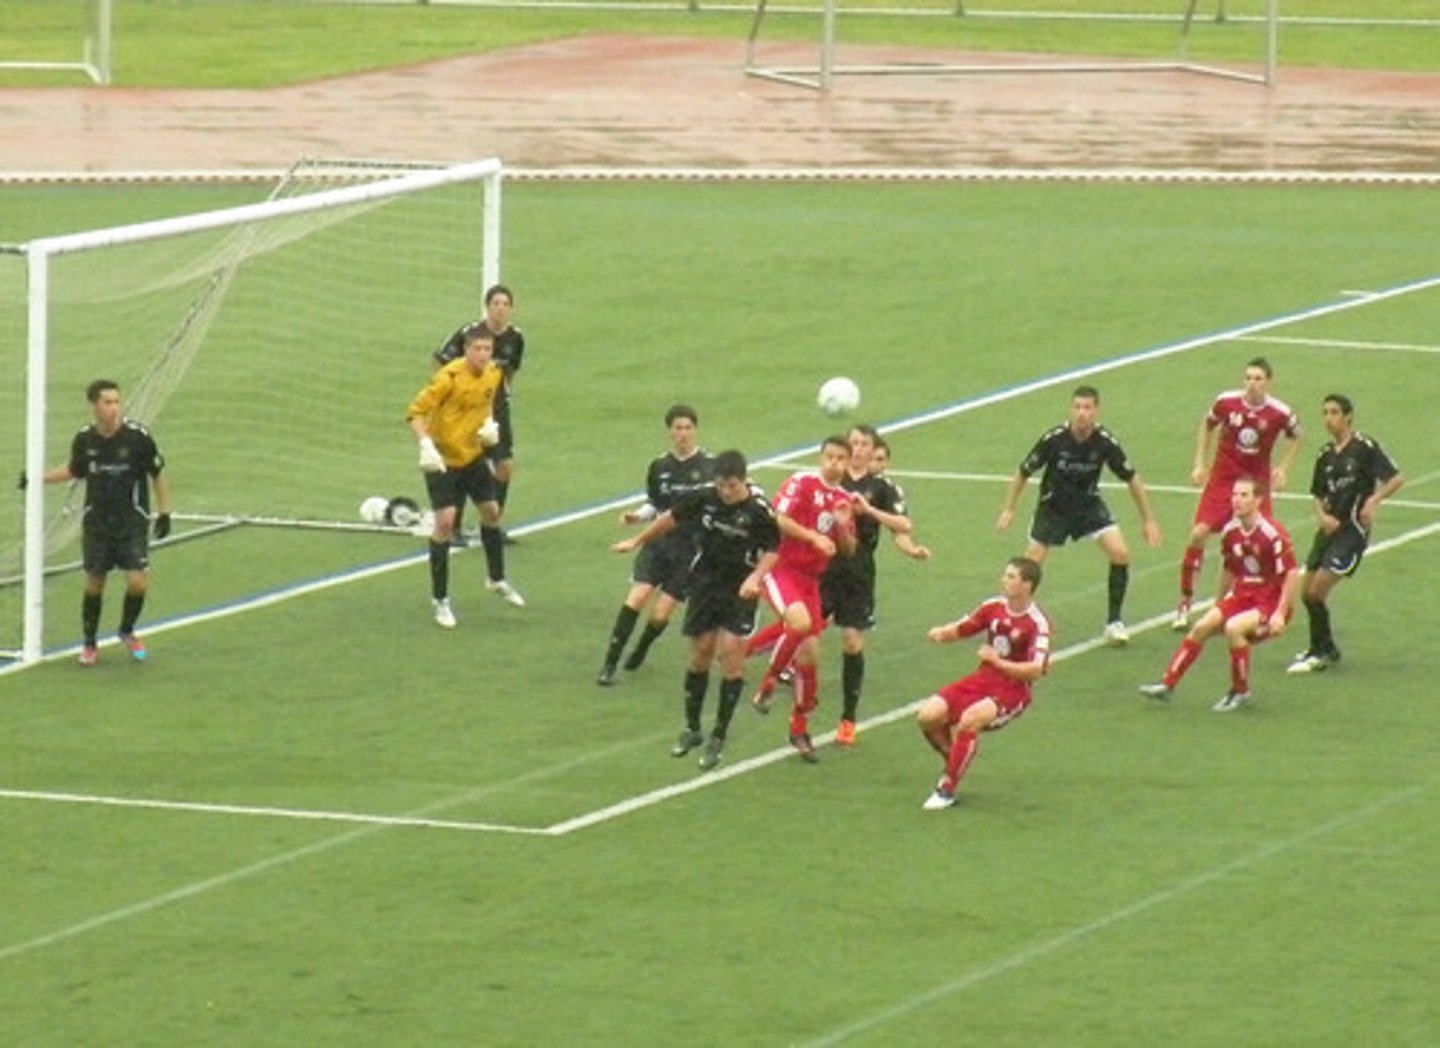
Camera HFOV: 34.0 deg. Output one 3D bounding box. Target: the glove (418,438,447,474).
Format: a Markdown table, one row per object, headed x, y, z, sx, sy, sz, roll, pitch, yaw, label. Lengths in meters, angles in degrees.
| x | y | z | sx | sy | sz | roll | pitch | yaw | label |
| --- | --- | --- | --- | --- | --- | --- | --- | --- | --- |
| -2.429 | -0.586 | 20.064 | 0.211 | 0.335 | 0.517 | -1 | 11 | -7 | glove |

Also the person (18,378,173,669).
| x | y | z | sx | sy | sz | roll | pitch | yaw | label |
| --- | --- | --- | --- | --- | --- | --- | --- | --- | --- |
| -4.969 | -0.028 | 19.207 | 0.924 | 2.284 | 0.691 | -2 | 13 | -14 | person |

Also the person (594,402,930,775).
| x | y | z | sx | sy | sz | roll | pitch | yaw | label |
| --- | --- | --- | --- | --- | --- | --- | --- | --- | --- |
| 0.342 | 0.555 | 17.890 | 1.388 | 2.442 | 1.064 | 0 | 12 | -2 | person |

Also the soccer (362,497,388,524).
| x | y | z | sx | sy | sz | roll | pitch | yaw | label |
| --- | --- | --- | --- | --- | --- | --- | --- | --- | --- |
| -3.278 | -0.127 | 22.461 | 0.229 | 0.244 | 0.328 | -2 | 11 | -14 | soccer |

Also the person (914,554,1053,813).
| x | y | z | sx | sy | sz | roll | pitch | yaw | label |
| --- | --- | --- | --- | --- | --- | --- | --- | --- | --- |
| 1.961 | 1.111 | 17.532 | 0.930 | 1.785 | 1.233 | 1 | 12 | 4 | person |

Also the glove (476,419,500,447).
| x | y | z | sx | sy | sz | roll | pitch | yaw | label |
| --- | --- | --- | --- | --- | --- | --- | --- | --- | --- |
| -2.021 | -0.815 | 20.566 | 0.147 | 0.169 | 0.246 | -11 | 27 | -44 | glove |
